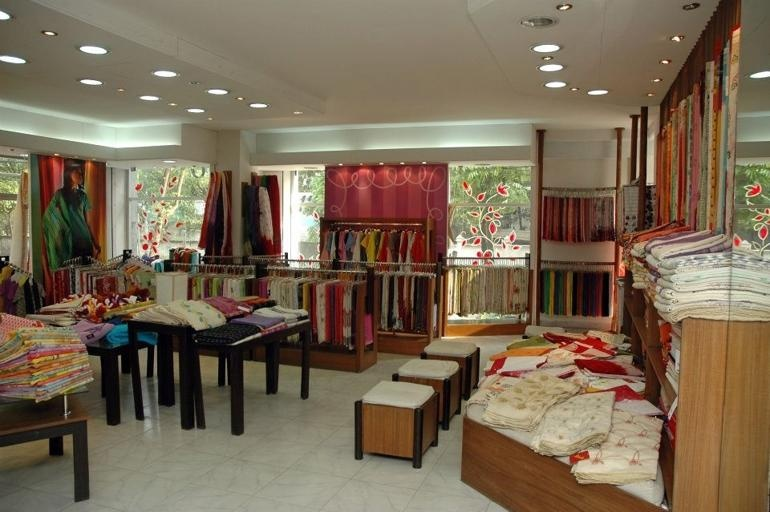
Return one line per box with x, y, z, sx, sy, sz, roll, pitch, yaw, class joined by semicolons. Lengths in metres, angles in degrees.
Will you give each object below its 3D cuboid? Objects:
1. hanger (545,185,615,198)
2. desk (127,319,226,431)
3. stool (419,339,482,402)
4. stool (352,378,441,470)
3.537;-1.170;9.849;1.247;0.194;0.160;2;8;5;hanger
-2.295;1.180;5.588;0.606;1.067;1.020;-4;9;-31;desk
0.788;1.322;6.337;0.658;0.558;0.666;0;-2;20;stool
0.103;1.493;4.991;0.719;0.545;0.703;1;3;19;stool
